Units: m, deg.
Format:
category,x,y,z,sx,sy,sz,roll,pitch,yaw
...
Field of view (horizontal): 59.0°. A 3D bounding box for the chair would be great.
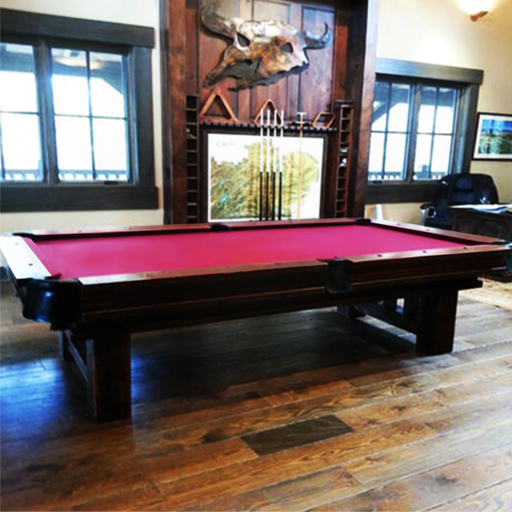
category,x,y,z,sx,sy,sz,roll,pitch,yaw
chair,2.430,-0.813,5.831,0.965,0.789,0.881,-7,16,-41
